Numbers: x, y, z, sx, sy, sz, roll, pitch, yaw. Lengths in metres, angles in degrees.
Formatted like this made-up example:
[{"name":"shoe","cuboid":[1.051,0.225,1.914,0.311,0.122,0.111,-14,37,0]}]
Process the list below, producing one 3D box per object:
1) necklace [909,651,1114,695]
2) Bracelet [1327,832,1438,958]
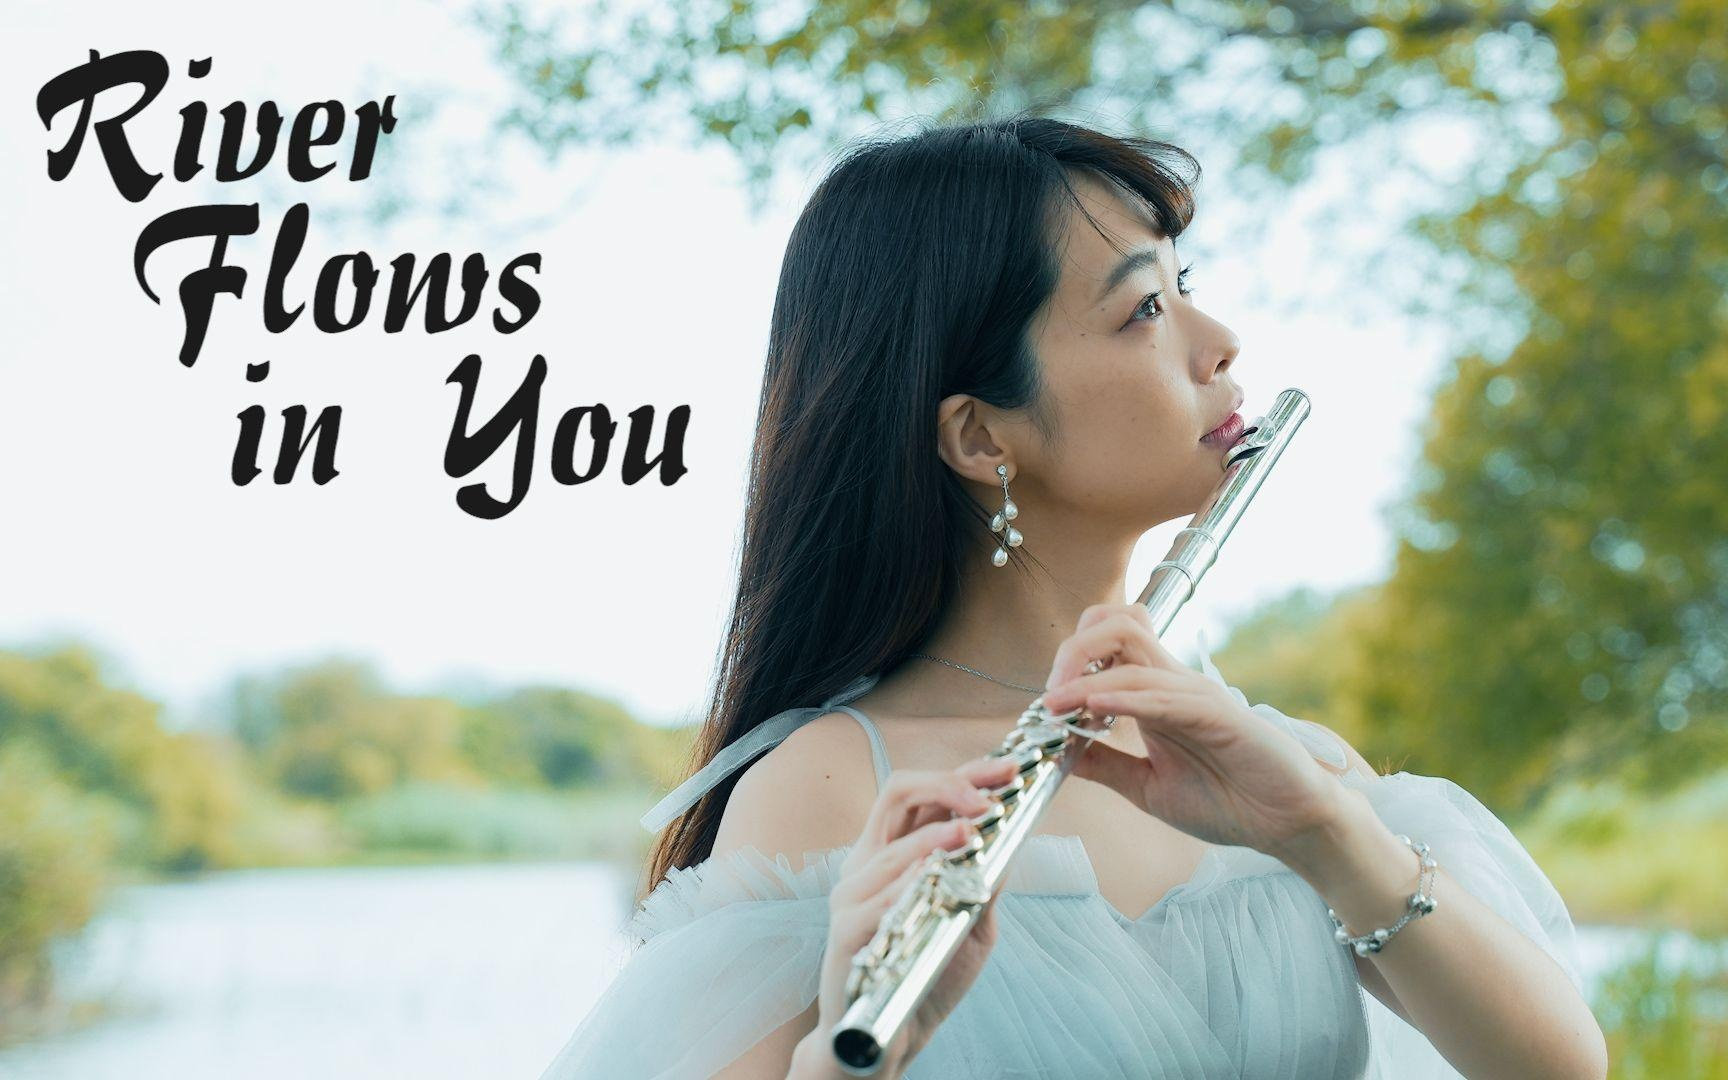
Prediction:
[{"name":"necklace","cuboid":[0.449,0.413,6.201,0.592,0.179,0.097,-1,19,-6]},{"name":"Bracelet","cuboid":[1.445,1.076,5.772,0.069,0.335,0.356,30,-47,-29]}]
